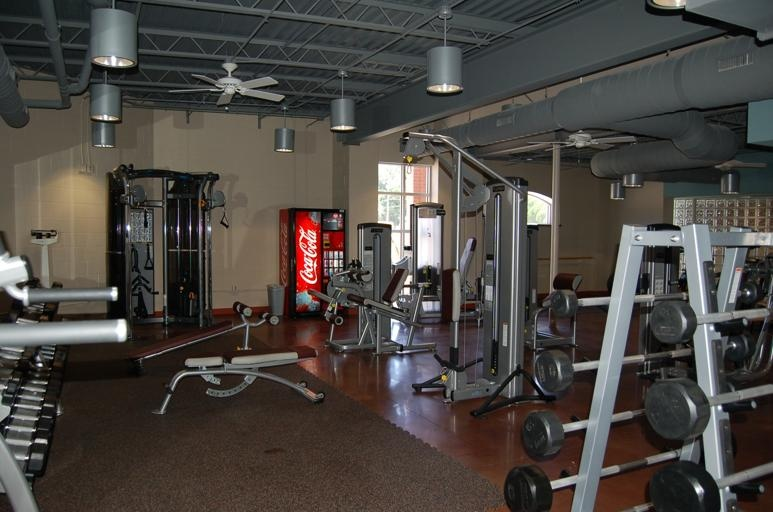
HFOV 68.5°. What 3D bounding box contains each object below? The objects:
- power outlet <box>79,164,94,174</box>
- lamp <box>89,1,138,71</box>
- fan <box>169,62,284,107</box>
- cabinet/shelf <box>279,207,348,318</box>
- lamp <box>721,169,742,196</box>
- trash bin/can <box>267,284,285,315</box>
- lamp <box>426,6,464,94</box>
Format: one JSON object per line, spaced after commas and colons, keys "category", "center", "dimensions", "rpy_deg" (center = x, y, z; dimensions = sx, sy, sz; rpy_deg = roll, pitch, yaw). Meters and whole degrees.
{"category": "power outlet", "center": [-5.723, -1.631, 10.834], "dimensions": [0.159, 0.206, 0.290], "rpy_deg": [-1, -1, 42]}
{"category": "lamp", "center": [-2.888, -2.290, 5.980], "dimensions": [0.478, 0.543, 0.367], "rpy_deg": [-2, 4, -12]}
{"category": "fan", "center": [-2.593, -2.748, 9.067], "dimensions": [1.067, 0.308, 0.994], "rpy_deg": [7, 10, 41]}
{"category": "cabinet/shelf", "center": [-1.503, 0.118, 11.672], "dimensions": [1.315, 2.178, 0.560], "rpy_deg": [-2, 4, -11]}
{"category": "lamp", "center": [7.304, -1.581, 12.058], "dimensions": [0.304, 0.490, 0.459], "rpy_deg": [0, 4, 28]}
{"category": "trash bin/can", "center": [-2.228, 0.901, 11.511], "dimensions": [0.343, 0.631, 0.423], "rpy_deg": [-3, 4, -13]}
{"category": "lamp", "center": [0.724, -2.588, 7.239], "dimensions": [0.416, 1.054, 0.756], "rpy_deg": [-1, 4, 4]}
